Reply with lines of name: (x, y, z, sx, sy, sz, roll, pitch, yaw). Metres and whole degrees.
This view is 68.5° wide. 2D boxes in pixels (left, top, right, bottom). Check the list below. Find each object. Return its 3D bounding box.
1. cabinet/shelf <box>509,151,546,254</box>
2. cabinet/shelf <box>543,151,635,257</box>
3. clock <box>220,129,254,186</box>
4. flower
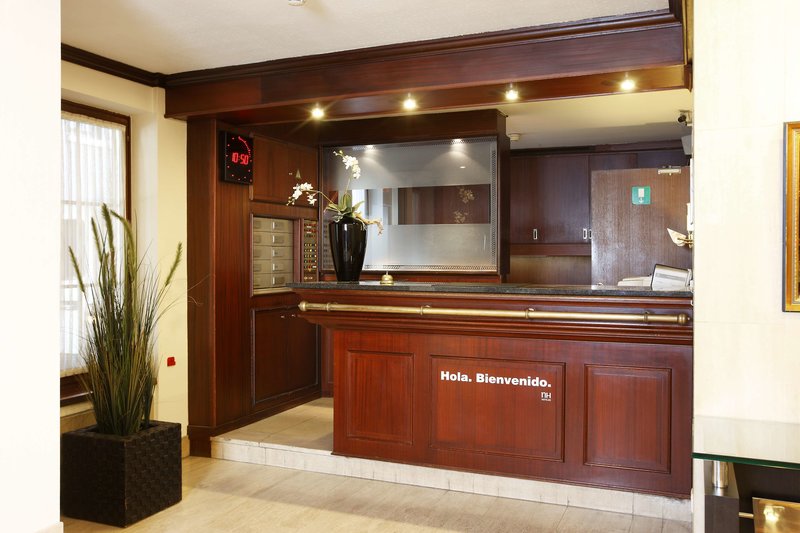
cabinet/shelf: (1.623, -0.858, 7.599, 0.402, 1.182, 0.229, 0, 8, 13)
cabinet/shelf: (2.311, -0.751, 7.117, 1.322, 1.289, 0.466, 0, -2, 20)
clock: (-1.489, -0.985, 5.338, 0.103, 0.467, 0.390, 2, 8, 22)
flower: (-0.566, -0.653, 5.467, 0.851, 0.570, 0.462, 7, 22, 9)
